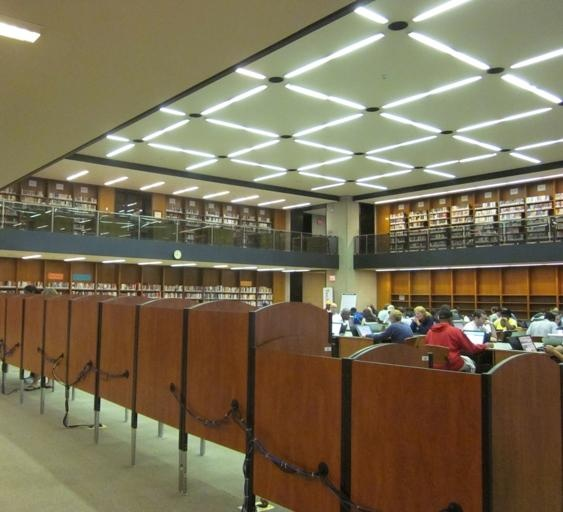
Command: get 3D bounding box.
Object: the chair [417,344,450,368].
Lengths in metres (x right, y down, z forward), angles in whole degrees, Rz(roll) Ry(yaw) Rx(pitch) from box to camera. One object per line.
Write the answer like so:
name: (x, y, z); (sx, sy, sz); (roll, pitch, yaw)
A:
chair: (1.281, 0.866, 4.630); (0.258, 0.220, 1.860); (1, -8, 17)

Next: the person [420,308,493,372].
person: (1.798, 1.019, 5.818); (0.609, 0.897, 0.538); (2, -4, -29)

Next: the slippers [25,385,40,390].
slippers: (-3.929, 2.068, 8.678); (0.221, 0.054, 0.444); (7, -9, -22)

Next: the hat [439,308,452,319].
hat: (1.787, 0.638, 5.997); (0.102, 0.100, 0.139); (5, 20, 30)

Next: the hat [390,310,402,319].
hat: (1.605, 0.809, 7.670); (0.118, 0.135, 0.145); (-1, -14, -18)
